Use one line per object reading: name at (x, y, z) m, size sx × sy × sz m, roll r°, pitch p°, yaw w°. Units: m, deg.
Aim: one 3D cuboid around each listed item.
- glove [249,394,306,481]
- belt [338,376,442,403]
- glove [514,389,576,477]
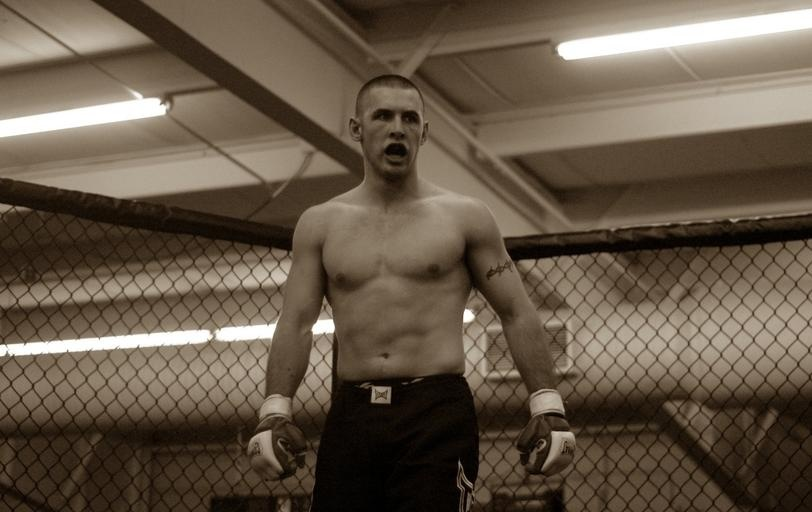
glove at (-0.983, 1.373, 7.122) m, size 0.262 × 0.590 × 0.427 m, roll 6°, pitch -20°, yaw -20°
belt at (-0.150, 0.988, 7.020) m, size 0.750 × 0.192 × 0.065 m, roll -4°, pitch -29°, yaw 9°
glove at (1.034, 1.318, 7.072) m, size 0.388 × 0.583 × 0.270 m, roll -14°, pitch -32°, yaw 27°
